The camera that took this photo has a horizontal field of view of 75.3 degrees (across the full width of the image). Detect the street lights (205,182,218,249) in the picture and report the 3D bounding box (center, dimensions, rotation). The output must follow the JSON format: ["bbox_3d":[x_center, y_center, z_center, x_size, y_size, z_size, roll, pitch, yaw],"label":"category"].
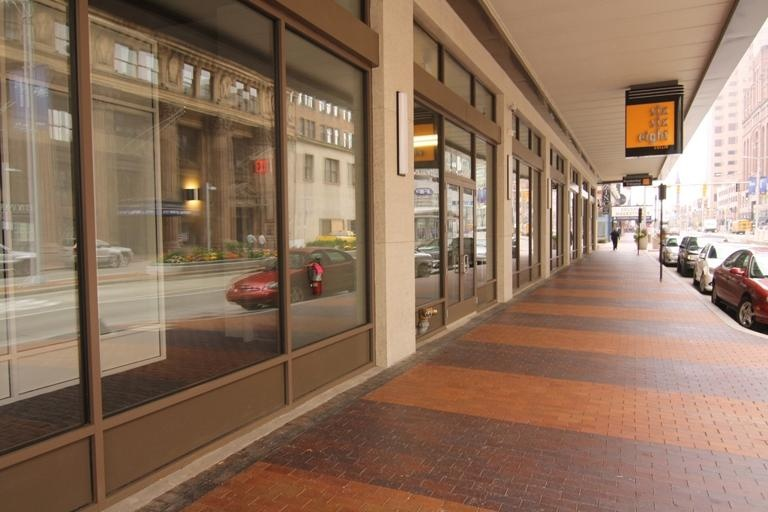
[{"bbox_3d":[-1.875,-0.422,5.365,0.075,0.709,0.179,1,10,11],"label":"street lights"}]
